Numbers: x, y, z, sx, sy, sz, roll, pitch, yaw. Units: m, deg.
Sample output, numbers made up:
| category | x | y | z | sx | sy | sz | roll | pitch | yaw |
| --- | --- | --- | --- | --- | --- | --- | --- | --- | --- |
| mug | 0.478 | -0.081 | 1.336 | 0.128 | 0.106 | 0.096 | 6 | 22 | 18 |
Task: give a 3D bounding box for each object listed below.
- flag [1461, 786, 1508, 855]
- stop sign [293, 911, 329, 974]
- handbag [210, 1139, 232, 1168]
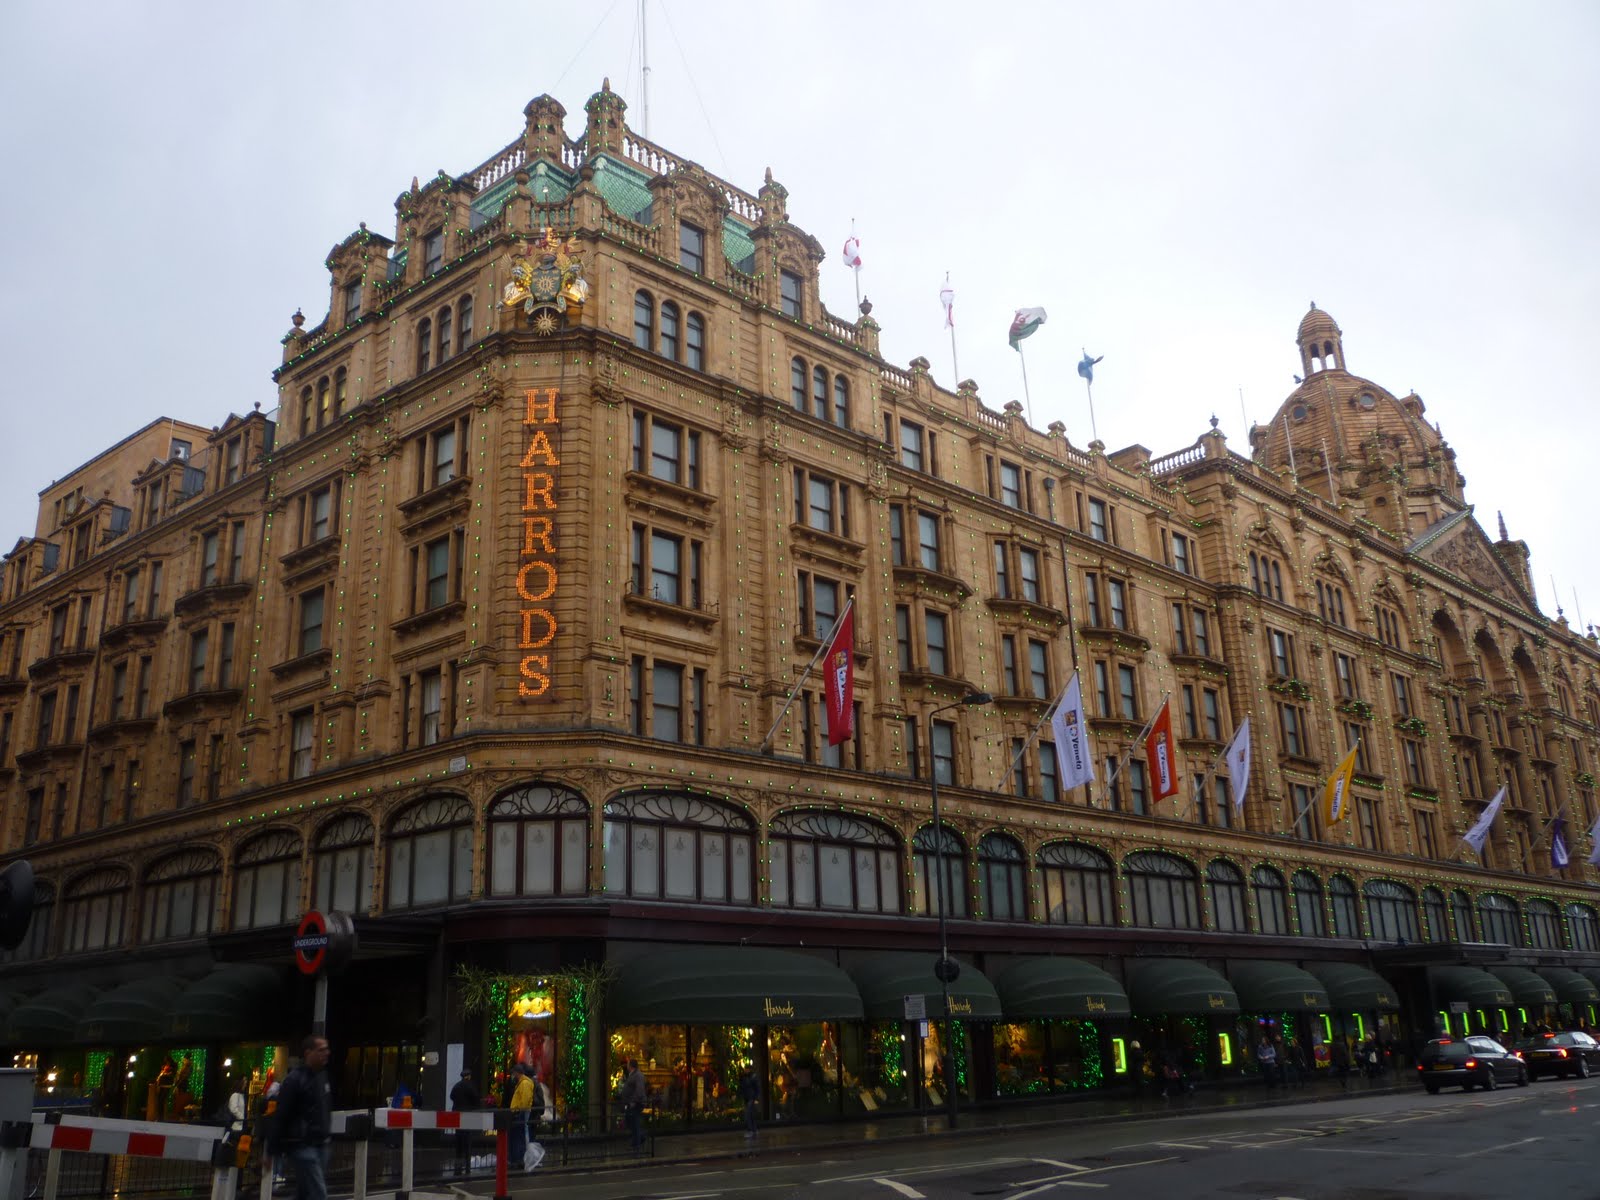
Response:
| category | x | y | z | sx | sy | sz | roll | pitch | yaw |
| --- | --- | --- | --- | --- | --- | --- | --- | --- | --- |
| flag | 39.351 | 12.876 | 72.622 | 6.423 | 1.105 | 1.412 | -20 | -27 | -55 |
| stop sign | -8.793 | 6.075 | 22.592 | 0.499 | 1.276 | 1.549 | 7 | -28 | -23 |
| handbag | -7.078 | 6.731 | 15.288 | 0.292 | 0.306 | 0.221 | -5 | -26 | 1 |
